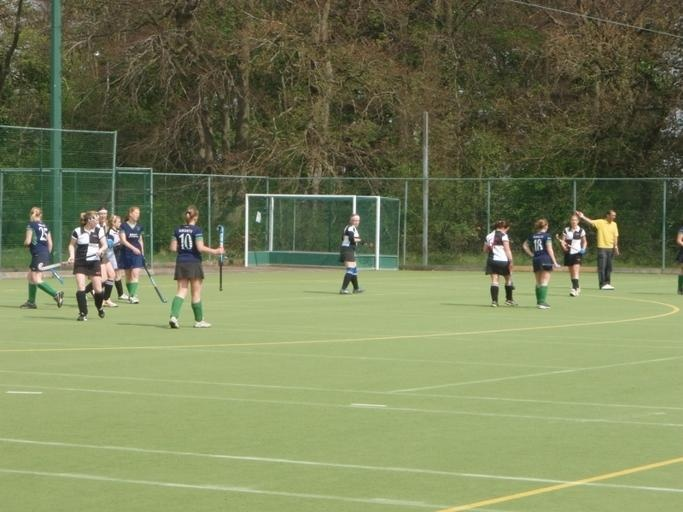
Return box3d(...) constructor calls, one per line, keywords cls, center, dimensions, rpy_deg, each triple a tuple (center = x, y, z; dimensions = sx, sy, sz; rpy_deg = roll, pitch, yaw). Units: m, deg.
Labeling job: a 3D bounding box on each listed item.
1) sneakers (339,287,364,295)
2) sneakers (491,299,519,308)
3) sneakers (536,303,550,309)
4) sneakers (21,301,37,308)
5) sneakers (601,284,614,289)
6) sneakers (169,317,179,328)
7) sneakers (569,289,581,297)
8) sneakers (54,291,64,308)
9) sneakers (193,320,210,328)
box3d(cls="sneakers", center=(0.237, 0.914, 27.241), dimensions=(0.638, 0.278, 0.225), rpy_deg=(-4, -3, 21))
box3d(cls="sneakers", center=(3.792, 1.082, 23.915), dimensions=(0.640, 0.283, 0.217), rpy_deg=(-2, 3, -2))
box3d(cls="sneakers", center=(4.596, 1.117, 23.361), dimensions=(0.282, 0.115, 0.103), rpy_deg=(1, 2, -22))
box3d(cls="sneakers", center=(-6.869, 1.025, 22.551), dimensions=(0.402, 0.179, 0.138), rpy_deg=(3, 5, 5))
box3d(cls="sneakers", center=(7.573, 0.840, 29.301), dimensions=(0.362, 0.156, 0.156), rpy_deg=(0, 3, -11))
box3d(cls="sneakers", center=(-3.082, 1.199, 18.971), dimensions=(0.116, 0.138, 0.319), rpy_deg=(2, -15, 9))
box3d(cls="sneakers", center=(6.089, 0.930, 26.920), dimensions=(0.154, 0.202, 0.477), rpy_deg=(-5, 8, 23))
box3d(cls="sneakers", center=(-6.266, 0.941, 22.934), dimensions=(0.157, 0.321, 0.145), rpy_deg=(3, 23, 10))
box3d(cls="sneakers", center=(-2.577, 1.233, 19.195), dimensions=(0.257, 0.114, 0.139), rpy_deg=(-1, 0, 9))
